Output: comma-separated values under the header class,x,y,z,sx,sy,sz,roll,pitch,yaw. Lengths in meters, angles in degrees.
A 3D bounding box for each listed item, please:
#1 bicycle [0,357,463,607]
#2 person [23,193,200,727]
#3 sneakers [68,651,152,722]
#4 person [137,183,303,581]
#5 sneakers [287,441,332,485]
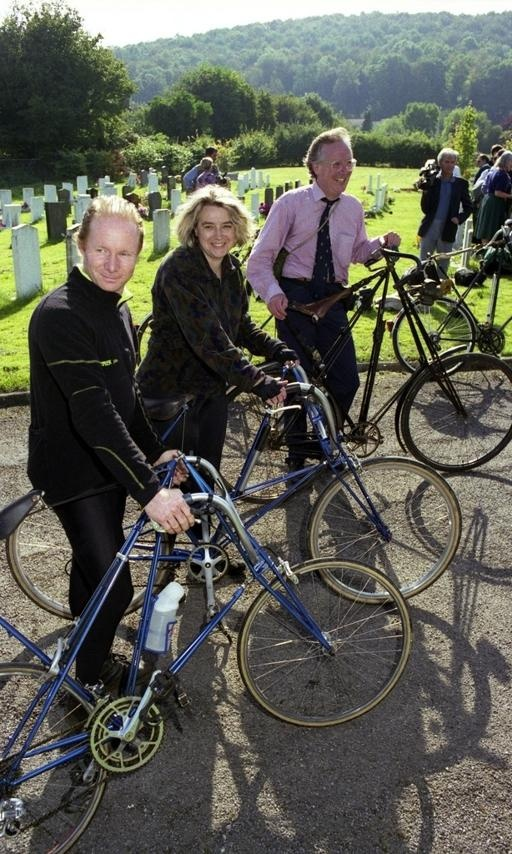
class,x,y,z,sx,sy,sz,roll,pitch,yaw
bicycle,0.000,0.279,3.715,2.409,1.345,0.977,-8,22,3
person,-0.508,0.133,2.367,0.537,1.709,0.656,-4,21,-9
sneakers,-0.475,0.896,2.461,0.257,0.105,0.353,9,20,9
person,-0.206,-0.183,3.342,0.747,1.705,0.746,5,19,8
sneakers,0.224,0.172,3.691,0.194,0.198,0.082,7,-11,31
